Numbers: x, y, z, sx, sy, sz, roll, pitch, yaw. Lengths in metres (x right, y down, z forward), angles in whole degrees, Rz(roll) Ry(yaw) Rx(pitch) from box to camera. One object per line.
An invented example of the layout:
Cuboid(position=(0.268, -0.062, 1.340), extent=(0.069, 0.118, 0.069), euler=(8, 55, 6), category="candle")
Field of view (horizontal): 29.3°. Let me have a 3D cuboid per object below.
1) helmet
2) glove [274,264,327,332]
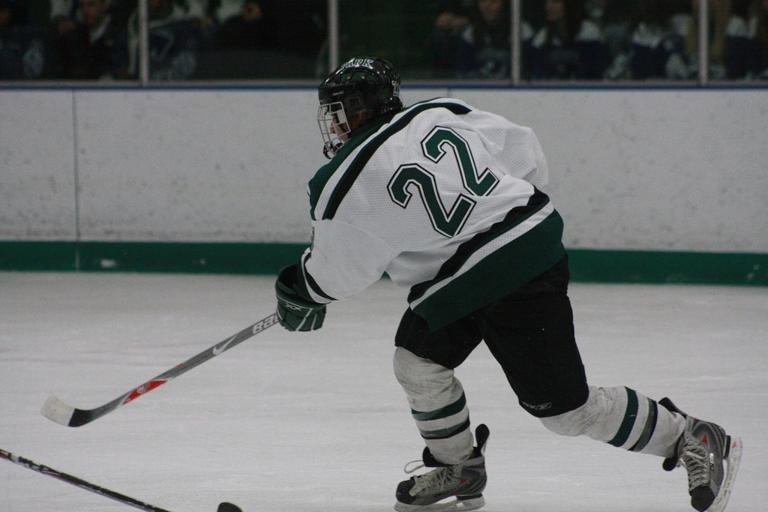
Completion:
Cuboid(position=(-0.059, -0.810, 7.586), extent=(0.554, 0.518, 0.417), euler=(-2, 8, 5), category="helmet")
Cuboid(position=(-0.420, 0.213, 7.494), extent=(0.240, 0.236, 0.220), euler=(35, 54, 28), category="glove")
